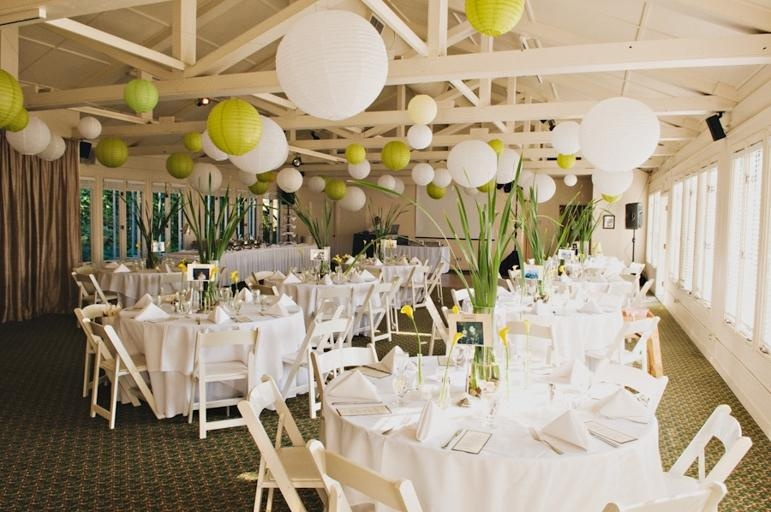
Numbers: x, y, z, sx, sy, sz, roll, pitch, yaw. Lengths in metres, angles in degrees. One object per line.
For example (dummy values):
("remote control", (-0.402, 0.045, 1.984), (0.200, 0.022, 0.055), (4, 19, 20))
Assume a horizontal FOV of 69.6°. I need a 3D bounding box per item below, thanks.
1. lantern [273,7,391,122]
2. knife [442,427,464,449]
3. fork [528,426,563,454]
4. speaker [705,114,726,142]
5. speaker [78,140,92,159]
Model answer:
("lantern", (-0.364, -1.433, 4.477), (0.758, 0.980, 0.767), (-4, -12, 16))
("knife", (0.485, 1.297, 3.934), (0.056, 0.040, 0.430), (5, 4, 19))
("fork", (1.118, 1.297, 3.916), (0.063, 0.061, 0.385), (-19, 19, -8))
("speaker", (4.526, -1.776, 7.596), (0.225, 0.370, 0.397), (5, 15, 20))
("speaker", (-5.856, -2.068, 10.800), (0.231, 0.295, 0.266), (2, 7, 3))
